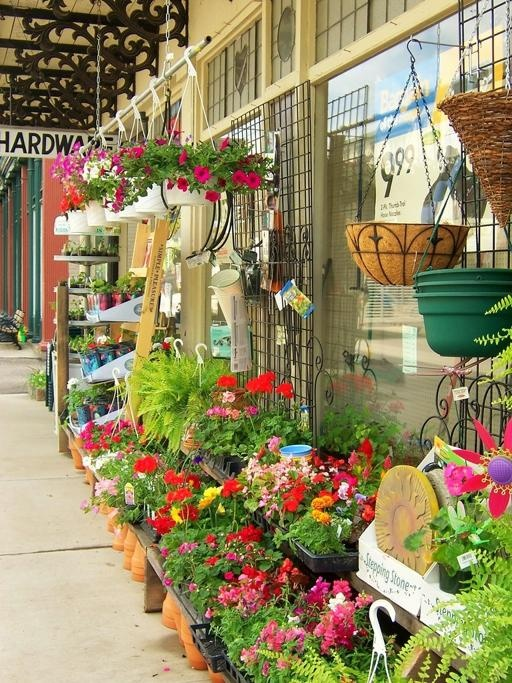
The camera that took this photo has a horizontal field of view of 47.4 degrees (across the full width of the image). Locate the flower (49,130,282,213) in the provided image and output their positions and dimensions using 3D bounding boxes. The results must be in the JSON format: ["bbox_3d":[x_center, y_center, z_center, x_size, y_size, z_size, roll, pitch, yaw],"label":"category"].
[{"bbox_3d":[-0.443,-0.855,2.968,1.280,0.407,0.572,2,13,26],"label":"flower"}]

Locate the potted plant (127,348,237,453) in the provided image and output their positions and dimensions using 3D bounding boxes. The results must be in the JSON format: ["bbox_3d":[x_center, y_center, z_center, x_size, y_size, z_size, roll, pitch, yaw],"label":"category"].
[{"bbox_3d":[-0.441,0.237,2.948,0.553,0.323,0.559,2,4,14],"label":"potted plant"}]

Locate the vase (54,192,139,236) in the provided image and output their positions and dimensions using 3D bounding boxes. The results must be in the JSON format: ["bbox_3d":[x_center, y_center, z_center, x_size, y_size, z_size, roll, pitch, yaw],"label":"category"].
[{"bbox_3d":[-1.150,-0.837,4.142,0.600,0.212,0.654,-1,-1,-24],"label":"vase"}]
